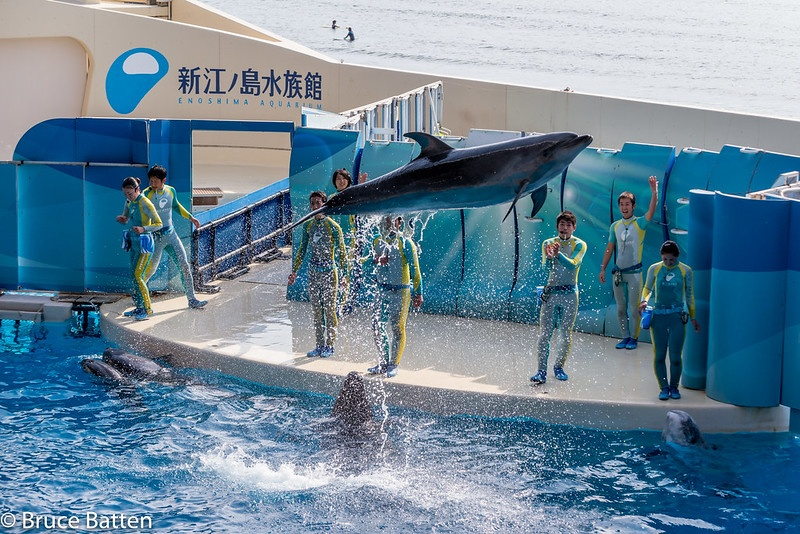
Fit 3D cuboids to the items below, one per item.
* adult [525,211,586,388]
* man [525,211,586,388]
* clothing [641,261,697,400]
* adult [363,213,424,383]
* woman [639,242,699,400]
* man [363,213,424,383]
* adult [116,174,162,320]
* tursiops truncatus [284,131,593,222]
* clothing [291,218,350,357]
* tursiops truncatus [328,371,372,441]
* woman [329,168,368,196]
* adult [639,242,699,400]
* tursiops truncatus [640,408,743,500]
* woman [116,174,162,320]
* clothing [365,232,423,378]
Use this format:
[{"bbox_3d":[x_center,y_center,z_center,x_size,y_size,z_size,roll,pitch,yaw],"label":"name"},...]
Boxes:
[{"bbox_3d":[2.000,0.378,11.854,0.514,2.132,0.617,5,5,33],"label":"adult"},{"bbox_3d":[2.006,0.377,11.871,0.545,2.132,0.607,4,5,25],"label":"man"},{"bbox_3d":[3.280,0.624,11.432,0.576,1.857,0.521,0,3,19],"label":"clothing"},{"bbox_3d":[-0.051,0.355,12.056,0.636,2.009,0.718,2,4,2],"label":"adult"},{"bbox_3d":[3.285,0.633,11.496,0.689,1.871,0.397,3,4,20],"label":"woman"},{"bbox_3d":[-0.049,0.355,12.057,0.635,2.009,0.721,2,4,-2],"label":"man"},{"bbox_3d":[-3.760,-0.262,13.634,0.626,2.002,0.383,3,4,9],"label":"adult"},{"bbox_3d":[0.525,-0.899,10.174,3.028,1.026,1.183,-3,-3,19],"label":"tursiops truncatus"},{"bbox_3d":[-1.050,0.118,12.573,0.687,2.161,0.522,1,6,17],"label":"clothing"},{"bbox_3d":[-0.564,1.618,11.285,0.504,0.719,0.450,2,4,-4],"label":"tursiops truncatus"},{"bbox_3d":[-0.650,-1.129,12.463,0.546,0.348,0.409,-6,10,-32],"label":"woman"},{"bbox_3d":[3.283,0.633,11.491,0.689,1.871,0.386,3,4,19],"label":"adult"},{"bbox_3d":[3.421,2.083,10.739,0.941,0.744,0.643,4,5,23],"label":"tursiops truncatus"},{"bbox_3d":[-3.768,-0.262,13.628,0.590,2.002,0.450,4,5,31],"label":"woman"},{"bbox_3d":[-0.035,0.342,11.973,0.625,2.080,0.570,2,3,2],"label":"clothing"}]
